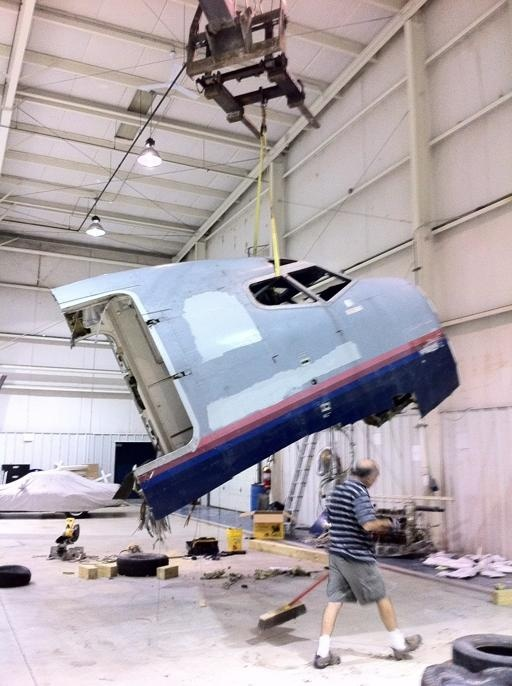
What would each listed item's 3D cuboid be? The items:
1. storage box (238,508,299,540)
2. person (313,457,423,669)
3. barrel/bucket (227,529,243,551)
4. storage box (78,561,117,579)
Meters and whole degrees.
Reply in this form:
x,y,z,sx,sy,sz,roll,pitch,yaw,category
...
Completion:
x,y,z,sx,sy,sz,roll,pitch,yaw,category
0.284,3.507,11.236,0.728,0.605,1.227,-6,-7,8,storage box
0.864,1.666,4.574,0.887,1.450,0.676,-3,-5,41,person
-0.351,3.400,9.995,0.296,0.381,0.116,2,-11,-43,barrel/bucket
-2.128,3.106,7.858,0.500,0.212,0.390,-2,-8,-21,storage box
